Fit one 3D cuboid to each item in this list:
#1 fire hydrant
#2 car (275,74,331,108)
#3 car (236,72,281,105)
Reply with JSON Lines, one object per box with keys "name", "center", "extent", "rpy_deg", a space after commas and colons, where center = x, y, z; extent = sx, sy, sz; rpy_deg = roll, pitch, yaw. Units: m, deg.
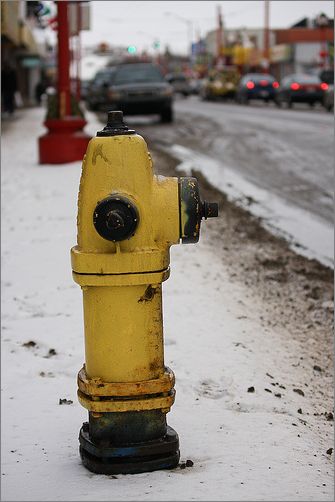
{"name": "fire hydrant", "center": [-0.094, 0.152, 3.013], "extent": [0.498, 1.269, 0.281], "rpy_deg": [-4, 10, -7]}
{"name": "car", "center": [4.155, -5.038, 27.189], "extent": [0.939, 0.682, 1.993], "rpy_deg": [1, 18, 1]}
{"name": "car", "center": [3.214, -5.887, 31.257], "extent": [0.975, 0.774, 1.710], "rpy_deg": [1, 20, 1]}
